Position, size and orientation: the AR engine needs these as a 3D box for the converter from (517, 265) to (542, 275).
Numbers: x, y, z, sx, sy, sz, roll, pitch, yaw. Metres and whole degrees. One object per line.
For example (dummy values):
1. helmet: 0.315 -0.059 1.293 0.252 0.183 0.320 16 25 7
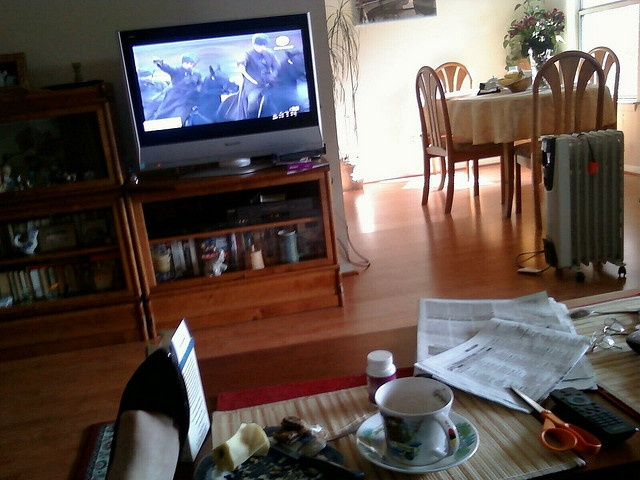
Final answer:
1. converter: 1.117 0.155 2.676 0.123 0.032 0.116 -1 17 27

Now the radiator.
1. radiator: 1.307 -0.176 2.511 0.388 0.734 0.221 -6 13 7

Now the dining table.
1. dining table: 1.355 -0.629 3.554 0.795 0.654 0.843 -5 15 2

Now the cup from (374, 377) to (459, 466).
1. cup: 0.147 0.272 0.762 0.118 0.088 0.094 -7 14 5

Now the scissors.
1. scissors: 0.359 0.274 0.759 0.032 0.013 0.102 -9 17 -12

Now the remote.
1. remote: 0.411 0.263 0.756 0.040 0.027 0.088 -10 25 -18

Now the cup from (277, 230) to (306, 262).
1. cup: -0.183 0.026 2.636 0.164 0.180 0.104 -15 10 -20

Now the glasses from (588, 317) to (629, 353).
1. glasses: 0.548 0.180 0.950 0.055 0.018 0.058 -6 17 38

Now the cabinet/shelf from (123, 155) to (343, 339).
1. cabinet/shelf: -0.452 0.047 2.498 0.716 0.576 0.316 -10 13 -5
